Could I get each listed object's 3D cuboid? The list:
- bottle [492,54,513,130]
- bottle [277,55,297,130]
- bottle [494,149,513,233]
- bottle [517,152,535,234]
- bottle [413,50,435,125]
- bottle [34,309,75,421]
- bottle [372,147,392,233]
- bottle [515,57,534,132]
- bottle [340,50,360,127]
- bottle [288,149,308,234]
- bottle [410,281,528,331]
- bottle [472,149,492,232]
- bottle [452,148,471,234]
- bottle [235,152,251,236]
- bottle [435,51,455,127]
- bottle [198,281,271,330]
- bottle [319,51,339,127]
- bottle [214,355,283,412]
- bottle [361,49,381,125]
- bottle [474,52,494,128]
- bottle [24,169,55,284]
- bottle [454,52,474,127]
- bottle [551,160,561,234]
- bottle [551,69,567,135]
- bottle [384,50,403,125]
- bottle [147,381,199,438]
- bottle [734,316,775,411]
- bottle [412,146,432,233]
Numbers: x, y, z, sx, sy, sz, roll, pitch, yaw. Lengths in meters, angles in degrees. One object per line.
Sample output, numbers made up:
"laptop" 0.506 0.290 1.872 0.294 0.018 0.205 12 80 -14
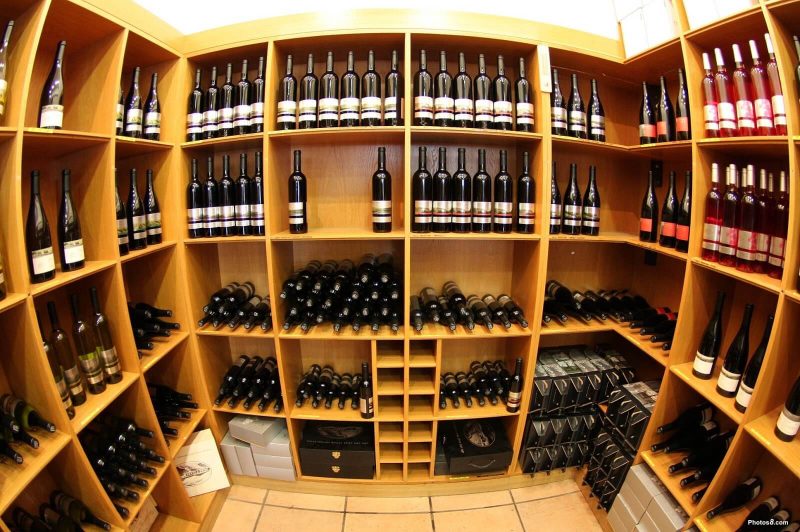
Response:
"bottle" 0.705 -1.178 3.578 0.129 0.489 0.248 2 11 15
"bottle" -0.784 -1.186 3.590 0.146 0.503 0.285 -1 11 2
"bottle" 0.723 -0.526 3.686 0.128 0.557 0.233 1 11 9
"bottle" 0.884 -0.526 3.698 0.132 0.561 0.235 0 11 4
"bottle" 0.162 -1.216 3.584 0.133 0.501 0.276 0 11 3
"bottle" -2.021 0.665 3.111 0.111 0.463 0.290 -8 13 -34
"bottle" -0.129 -0.526 3.617 0.131 0.579 0.137 -1 11 0
"bottle" 0.853 -1.163 3.563 0.133 0.479 0.111 1 11 11
"bottle" -0.355 -1.178 3.520 0.128 0.478 0.199 -1 11 2
"bottle" -0.727 -0.523 3.681 0.118 0.568 0.179 -4 11 -13
"bottle" 0.488 0.306 3.849 0.213 0.264 0.945 -4 12 -22
"bottle" 0.586 -0.535 3.690 0.137 0.574 0.236 2 11 13
"bottle" 0.431 -0.526 3.632 0.131 0.565 0.158 2 11 17
"bottle" -1.128 -0.515 3.742 0.121 0.558 0.310 -4 12 -17
"bottle" 0.298 -1.189 3.531 0.132 0.494 0.218 3 12 20
"bottle" -1.184 0.312 3.879 0.357 0.113 0.362 5 12 -1
"bottle" -0.486 -1.175 3.511 0.148 0.484 0.155 -1 11 0
"bottle" -1.130 0.870 3.985 0.379 0.394 0.385 0 18 -3
"bottle" -0.202 -1.206 3.555 0.139 0.495 0.229 -2 11 -4
"bottle" 0.568 -1.181 3.555 0.137 0.483 0.156 4 12 23
"bottle" -2.142 -0.239 3.081 0.130 0.627 0.348 -9 13 -35
"bottle" 0.435 -1.185 3.557 0.127 0.483 0.234 1 11 10
"bottle" 1.134 -0.496 3.793 0.084 0.497 0.377 2 12 17
"bottle" 1.111 -1.137 3.643 0.120 0.449 0.228 3 12 19
"bottle" -0.061 -1.192 3.548 0.139 0.470 0.183 1 11 8
"bottle" -1.689 1.030 3.845 0.458 0.232 0.134 12 -13 34
"bottle" 2.153 0.563 3.185 0.140 0.550 0.468 7 14 35
"bottle" 0.151 -0.530 3.617 0.173 0.571 0.165 -1 11 0
